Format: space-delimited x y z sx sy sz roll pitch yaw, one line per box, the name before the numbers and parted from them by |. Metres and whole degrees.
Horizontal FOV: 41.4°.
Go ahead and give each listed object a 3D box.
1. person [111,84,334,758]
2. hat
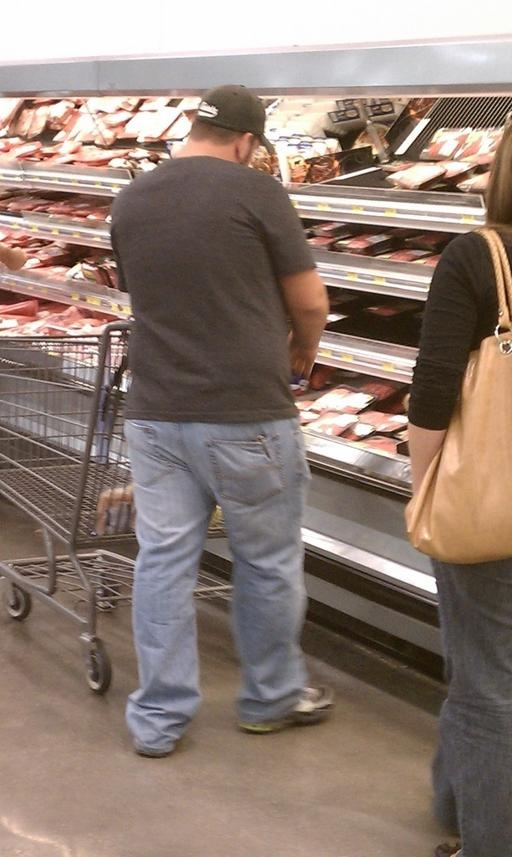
person | -0.084 0.128 1.697 0.579 1.502 0.354 1 7 -13
hat | -0.050 -0.735 1.626 0.109 0.085 0.166 33 18 37
